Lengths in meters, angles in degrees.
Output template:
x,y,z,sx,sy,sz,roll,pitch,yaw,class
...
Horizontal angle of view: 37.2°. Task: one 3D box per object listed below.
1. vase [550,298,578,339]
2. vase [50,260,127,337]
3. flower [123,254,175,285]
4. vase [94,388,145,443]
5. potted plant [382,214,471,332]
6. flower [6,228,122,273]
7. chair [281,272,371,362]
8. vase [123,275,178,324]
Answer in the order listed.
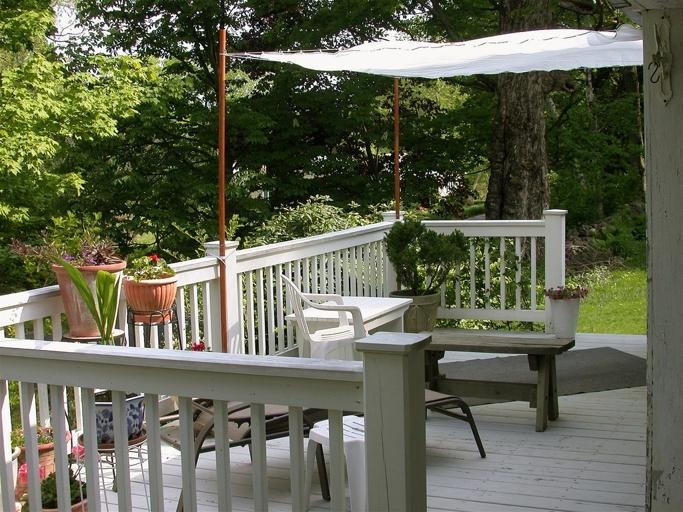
x,y,z,sx,sy,sz,roll,pitch,yaw,class
1.894,0.542,8.760,0.265,0.321,0.279,4,-8,-17,vase
-1.678,0.259,6.822,0.450,0.451,0.465,3,6,14,vase
-1.376,0.093,7.086,0.210,0.142,0.232,1,11,25,flower
-1.401,0.944,6.385,0.362,0.287,0.379,0,-2,-5,vase
0.661,0.133,9.670,0.890,1.247,0.903,0,0,-17,potted plant
-2.224,-0.029,7.890,0.589,0.237,0.469,1,3,8,flower
-0.117,0.515,7.944,0.631,0.970,0.597,-4,5,0,chair
-1.422,0.280,7.196,0.400,0.362,0.441,5,10,-2,vase
